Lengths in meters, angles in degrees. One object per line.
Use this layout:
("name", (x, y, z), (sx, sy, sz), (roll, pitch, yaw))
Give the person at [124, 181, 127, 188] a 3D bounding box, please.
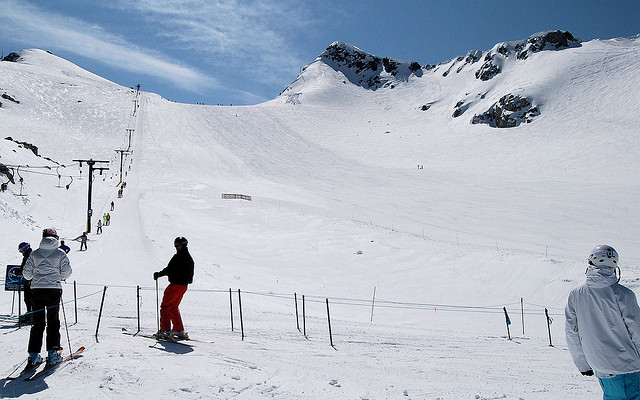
("person", (-29.228, -2.206, 101.723), (0.535, 0.717, 0.239), (-24, -33, 25))
